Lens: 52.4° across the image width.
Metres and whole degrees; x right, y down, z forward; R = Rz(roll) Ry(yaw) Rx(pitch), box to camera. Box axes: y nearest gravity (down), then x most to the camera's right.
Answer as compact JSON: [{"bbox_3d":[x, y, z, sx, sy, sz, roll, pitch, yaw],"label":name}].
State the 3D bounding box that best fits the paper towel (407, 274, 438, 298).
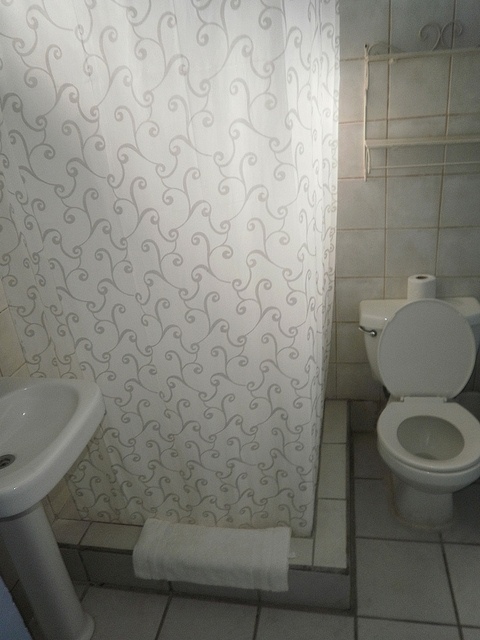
[{"bbox_3d":[0.689,-0.123,1.847,0.075,0.110,0.092,-3,20,4],"label":"paper towel"}]
